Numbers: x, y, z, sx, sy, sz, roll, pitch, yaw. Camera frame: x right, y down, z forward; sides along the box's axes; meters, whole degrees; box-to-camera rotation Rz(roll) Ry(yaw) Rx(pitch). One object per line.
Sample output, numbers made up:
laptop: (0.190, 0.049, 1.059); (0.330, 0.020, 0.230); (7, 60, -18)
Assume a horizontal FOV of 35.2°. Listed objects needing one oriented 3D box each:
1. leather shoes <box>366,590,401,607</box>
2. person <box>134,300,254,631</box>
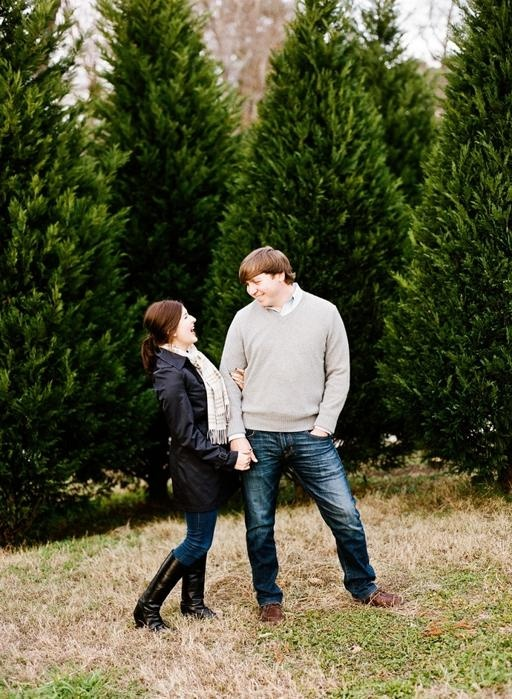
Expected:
leather shoes: (0.697, 1.373, 4.450); (0.189, 0.069, 0.069); (-10, 15, 23)
person: (-0.396, 0.627, 4.385); (0.714, 1.782, 0.397); (-7, 9, -7)
